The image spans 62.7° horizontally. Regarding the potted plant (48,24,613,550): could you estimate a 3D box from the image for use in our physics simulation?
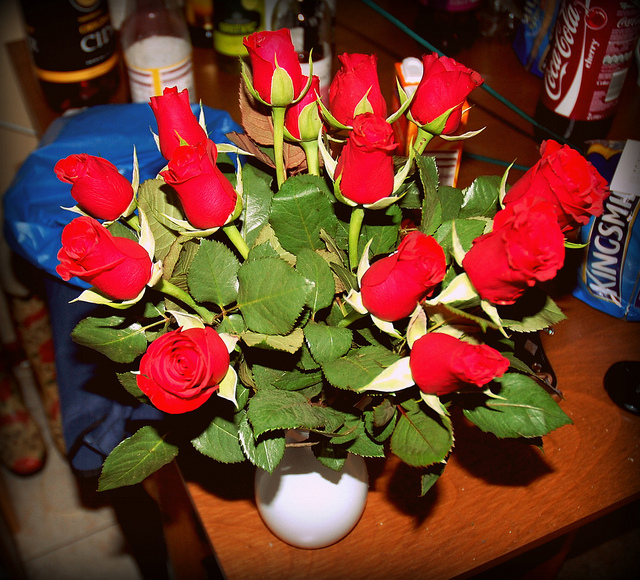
[{"bbox_3d":[0.011,0.052,0.584,0.440,0.494,0.424,22,21,35],"label":"potted plant"}]

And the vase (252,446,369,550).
[{"bbox_3d":[-0.003,0.229,0.676,0.132,0.139,0.153,-9,72,3],"label":"vase"}]
